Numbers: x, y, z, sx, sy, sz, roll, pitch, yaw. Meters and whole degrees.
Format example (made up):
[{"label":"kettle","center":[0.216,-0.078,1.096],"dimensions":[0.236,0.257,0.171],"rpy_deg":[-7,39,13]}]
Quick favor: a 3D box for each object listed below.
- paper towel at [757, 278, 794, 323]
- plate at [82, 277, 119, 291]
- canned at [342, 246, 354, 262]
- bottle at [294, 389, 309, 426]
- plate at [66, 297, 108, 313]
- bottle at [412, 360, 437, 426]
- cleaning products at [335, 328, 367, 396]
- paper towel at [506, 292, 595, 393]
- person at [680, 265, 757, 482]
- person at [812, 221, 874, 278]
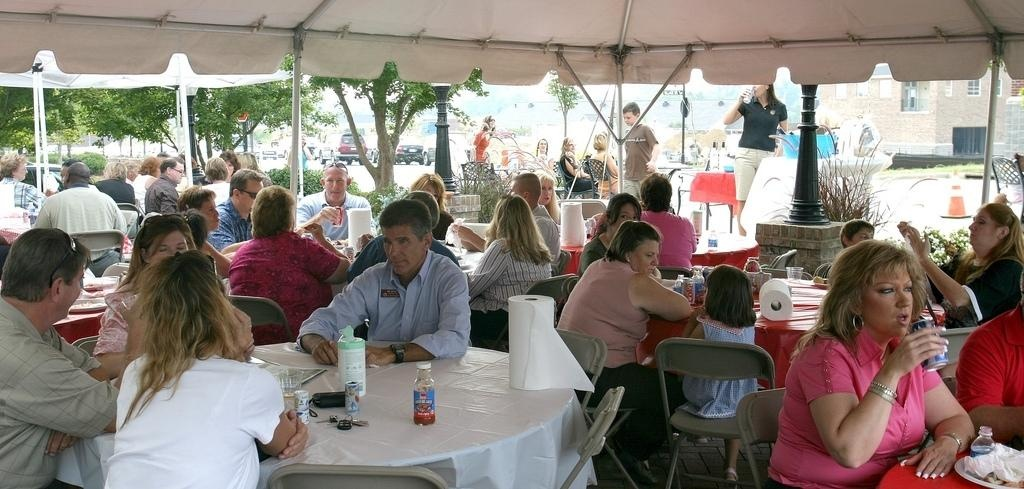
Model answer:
[{"label":"paper towel","center":[2.419,0.533,6.924],"dimensions":[0.379,0.331,0.417],"rpy_deg":[-3,4,12]},{"label":"plate","center":[-4.084,0.398,7.282],"dimensions":[0.455,0.125,0.246],"rpy_deg":[1,2,16]},{"label":"canned","center":[-1.786,0.115,8.004],"dimensions":[0.120,0.130,0.146],"rpy_deg":[11,25,25]},{"label":"bottle","center":[-1.493,1.169,5.227],"dimensions":[0.110,0.240,0.158],"rpy_deg":[0,3,-14]},{"label":"plate","center":[-3.968,0.573,6.890],"dimensions":[0.273,0.117,0.410],"rpy_deg":[0,2,-26]},{"label":"bottle","center":[-0.636,1.081,5.317],"dimensions":[0.160,0.432,0.211],"rpy_deg":[1,3,-6]},{"label":"cleaning products","center":[-1.201,0.883,5.465],"dimensions":[0.216,0.506,0.249],"rpy_deg":[1,3,-5]},{"label":"paper towel","center":[0.281,0.757,5.580],"dimensions":[0.602,0.706,0.143],"rpy_deg":[1,3,4]},{"label":"person","center":[1.871,1.155,6.724],"dimensions":[0.821,1.908,0.647],"rpy_deg":[1,-1,24]},{"label":"person","center":[3.250,0.048,7.301],"dimensions":[0.362,0.883,0.745],"rpy_deg":[8,11,38]}]
